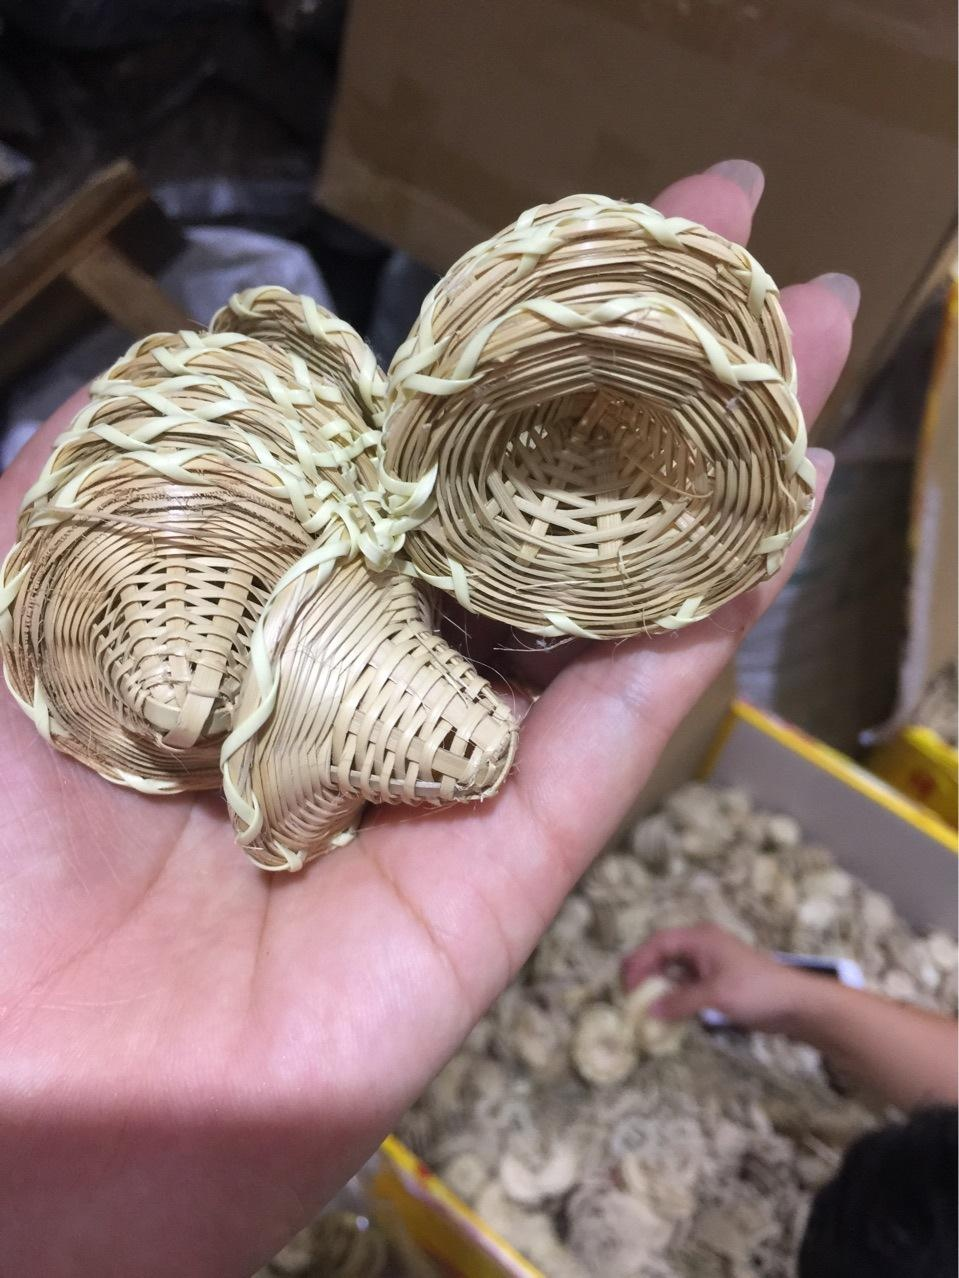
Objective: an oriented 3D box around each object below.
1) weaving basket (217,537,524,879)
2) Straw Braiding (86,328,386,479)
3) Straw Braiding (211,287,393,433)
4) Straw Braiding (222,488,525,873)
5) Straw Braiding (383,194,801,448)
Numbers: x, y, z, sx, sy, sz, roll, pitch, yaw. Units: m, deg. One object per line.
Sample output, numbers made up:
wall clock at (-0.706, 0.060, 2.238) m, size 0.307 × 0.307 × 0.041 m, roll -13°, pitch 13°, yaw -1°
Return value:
weaving basket at (-0.078, 0.029, 0.780) m, size 0.151 × 0.106 × 0.200 m, roll 43°, pitch 74°, yaw -33°
Straw Braiding at (-0.143, -0.150, 0.779) m, size 0.142 × 0.121 × 0.043 m, roll 9°, pitch 82°, yaw -6°
Straw Braiding at (-0.091, -0.189, 0.830) m, size 0.114 × 0.100 × 0.037 m, roll 43°, pitch 66°, yaw -32°
Straw Braiding at (-0.089, 0.024, 0.795) m, size 0.176 × 0.119 × 0.203 m, roll 10°, pitch 103°, yaw -40°
Straw Braiding at (0.072, -0.176, 0.735) m, size 0.241 × 0.151 × 0.131 m, roll 5°, pitch 61°, yaw -3°
